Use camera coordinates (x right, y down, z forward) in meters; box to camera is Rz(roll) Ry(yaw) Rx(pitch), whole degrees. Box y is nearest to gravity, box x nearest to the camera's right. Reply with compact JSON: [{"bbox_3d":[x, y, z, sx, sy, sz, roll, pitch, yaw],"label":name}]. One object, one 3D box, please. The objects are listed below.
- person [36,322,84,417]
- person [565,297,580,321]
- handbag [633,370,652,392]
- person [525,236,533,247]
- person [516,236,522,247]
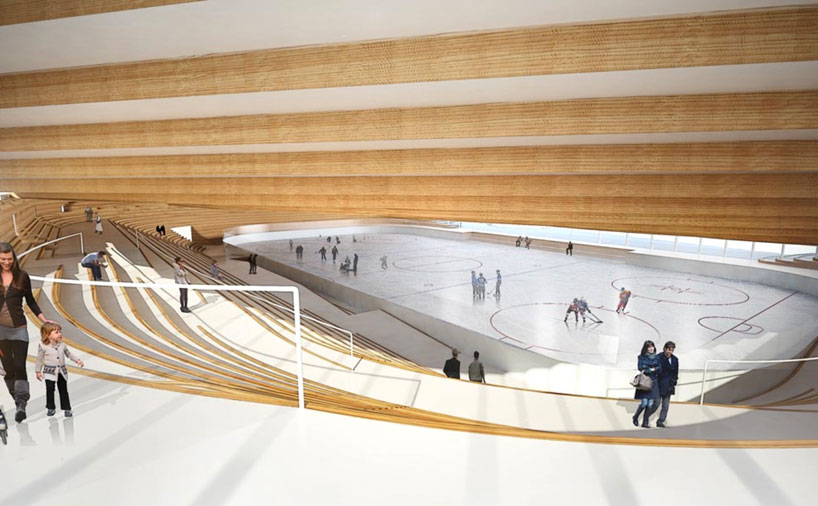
[{"bbox_3d":[-3.306,1.054,4.245,0.333,0.794,0.619,-9,15,-32],"label":"person"},{"bbox_3d":[5.510,1.859,15.200,0.482,0.635,1.105,4,12,19],"label":"person"},{"bbox_3d":[3.299,1.775,6.381,0.246,0.258,0.089,6,15,25],"label":"handbag"},{"bbox_3d":[8.092,-0.809,30.687,0.378,0.647,0.679,3,12,15],"label":"person"},{"bbox_3d":[7.523,-0.880,30.894,0.418,0.690,0.559,3,13,13],"label":"person"}]
